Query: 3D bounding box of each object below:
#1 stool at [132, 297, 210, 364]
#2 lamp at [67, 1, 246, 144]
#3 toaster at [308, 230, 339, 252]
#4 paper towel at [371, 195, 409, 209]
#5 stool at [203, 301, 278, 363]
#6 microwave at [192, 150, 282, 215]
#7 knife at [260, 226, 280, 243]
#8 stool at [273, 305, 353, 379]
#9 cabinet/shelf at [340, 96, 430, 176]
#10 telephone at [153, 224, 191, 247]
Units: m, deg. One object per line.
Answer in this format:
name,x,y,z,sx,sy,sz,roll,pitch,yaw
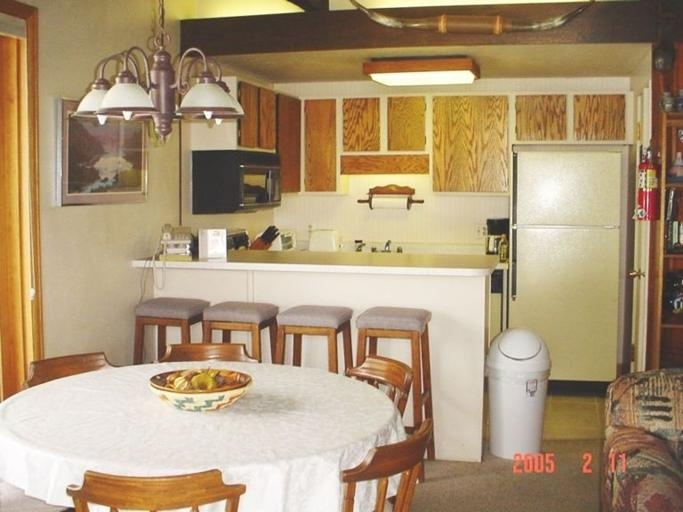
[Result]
stool,-1.284,0.607,4.522,0.531,0.500,0.503,1,5,-25
lamp,-1.099,-1.030,3.340,0.719,0.763,1.775,-6,14,-22
toaster,-0.200,-0.157,6.565,0.275,0.208,0.262,0,2,13
paper towel,0.521,-0.576,6.601,0.346,0.116,0.160,1,31,12
stool,-0.792,0.562,4.315,0.583,0.404,0.563,5,1,29
microwave,-1.011,-0.694,5.884,0.548,0.548,0.953,4,9,14
knife,-0.773,-0.208,6.270,0.249,0.155,0.150,-11,17,-38
stool,-0.174,0.543,4.063,0.508,0.462,0.476,0,0,11
cabinet/shelf,0.370,-1.255,6.466,1.079,0.797,0.387,-6,15,-24
telephone,-1.319,-0.177,4.817,0.247,0.149,0.221,2,6,5
